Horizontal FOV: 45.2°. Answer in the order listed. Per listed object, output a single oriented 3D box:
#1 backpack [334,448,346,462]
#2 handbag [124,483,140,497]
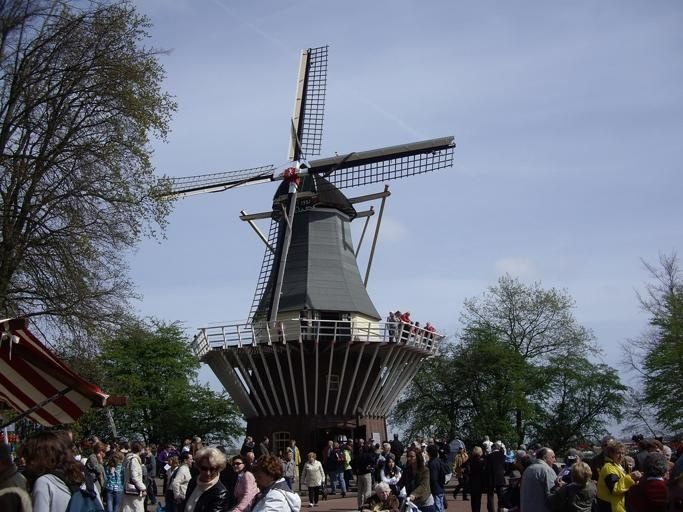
[{"bbox_3d":[-0.077,6.203,25.541,0.297,0.369,0.141,9,-42,-42],"label":"backpack"},{"bbox_3d":[-4.032,4.499,15.789,0.321,0.261,0.136,3,-1,-4],"label":"handbag"}]
